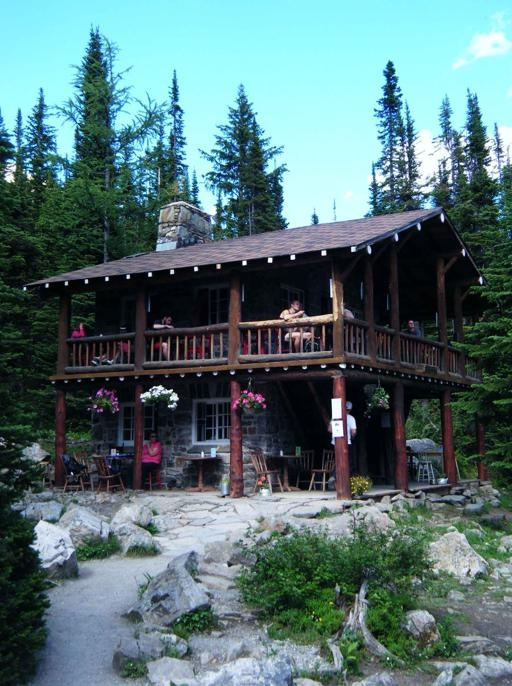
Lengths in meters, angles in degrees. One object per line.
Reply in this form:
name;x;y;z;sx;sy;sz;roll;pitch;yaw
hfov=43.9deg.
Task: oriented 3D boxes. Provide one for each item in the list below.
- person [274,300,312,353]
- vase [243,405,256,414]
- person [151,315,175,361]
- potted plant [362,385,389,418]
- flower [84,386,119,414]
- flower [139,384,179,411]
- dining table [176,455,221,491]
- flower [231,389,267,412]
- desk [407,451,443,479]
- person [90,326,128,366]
person;0.902;-0.397;14.545;0.704;1.358;1.874;-1;-7;2
vase;-0.157;1.525;14.329;0.205;0.130;0.208;-15;-19;41
person;-2.460;-0.145;16.821;0.511;1.382;1.782;0;-7;-7
potted plant;3.083;1.499;16.436;1.058;0.789;1.160;0;-12;1
flower;-4.168;1.608;17.309;1.007;0.818;0.939;1;-10;14
flower;-2.390;1.323;15.735;0.871;0.573;0.737;4;-3;-10
dining table;-1.548;3.288;16.345;1.027;0.702;1.035;-10;-20;34
flower;-0.168;1.330;14.370;0.679;0.542;0.594;2;-1;3
desk;5.624;4.136;21.396;1.103;1.025;0.858;-2;-24;1
person;-3.983;0.305;17.420;0.981;0.786;1.679;1;-7;-14
